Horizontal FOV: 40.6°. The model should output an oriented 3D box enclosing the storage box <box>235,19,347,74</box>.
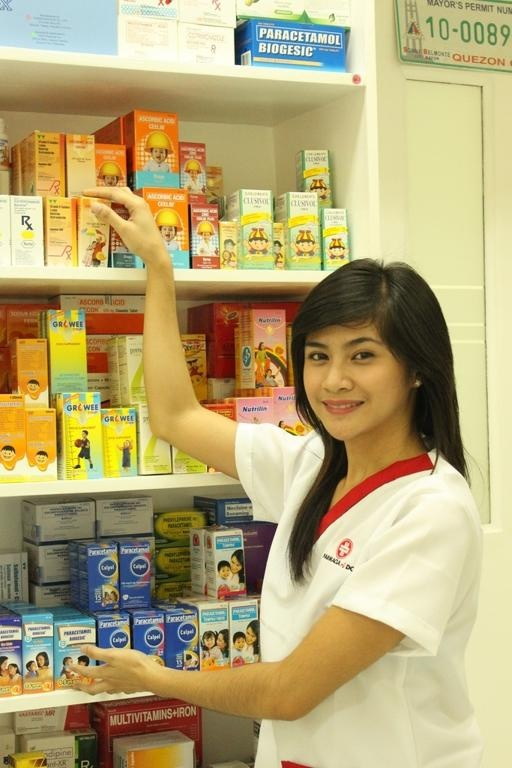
[{"bbox_3d":[0.064,-0.727,1.501,0.170,0.074,0.085,-2,11,-21],"label":"storage box"}]
